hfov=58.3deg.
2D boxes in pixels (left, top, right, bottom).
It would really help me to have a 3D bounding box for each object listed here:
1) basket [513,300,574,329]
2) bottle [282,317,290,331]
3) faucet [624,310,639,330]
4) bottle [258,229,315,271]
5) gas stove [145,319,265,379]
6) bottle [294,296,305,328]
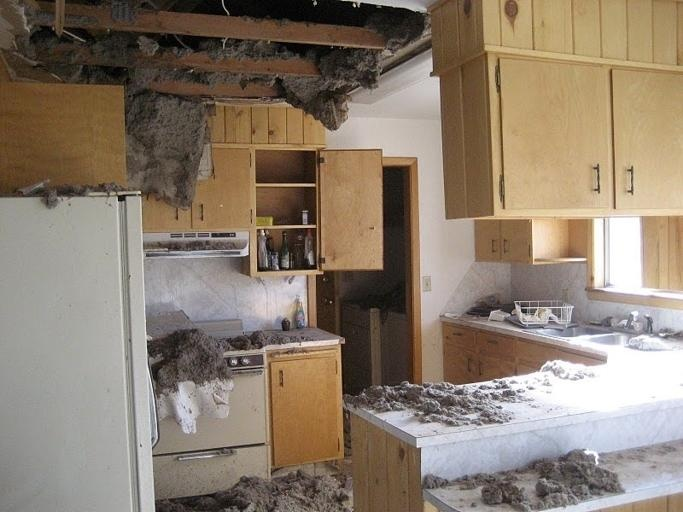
[{"bbox_3d":[1.663,0.481,5.078,0.314,0.131,0.254,-1,0,36],"label":"basket"},{"bbox_3d":[-0.463,0.579,5.154,0.079,0.120,0.088,-3,7,-13],"label":"bottle"},{"bbox_3d":[2.133,0.471,4.488,0.090,0.131,0.177,-1,1,26],"label":"faucet"},{"bbox_3d":[-0.459,-0.053,5.064,0.486,0.244,0.358,-2,1,-10],"label":"bottle"},{"bbox_3d":[-0.845,0.561,3.662,0.294,0.127,0.410,21,10,31],"label":"gas stove"},{"bbox_3d":[-0.358,0.484,5.215,0.077,0.180,0.087,-2,1,-7],"label":"bottle"}]
